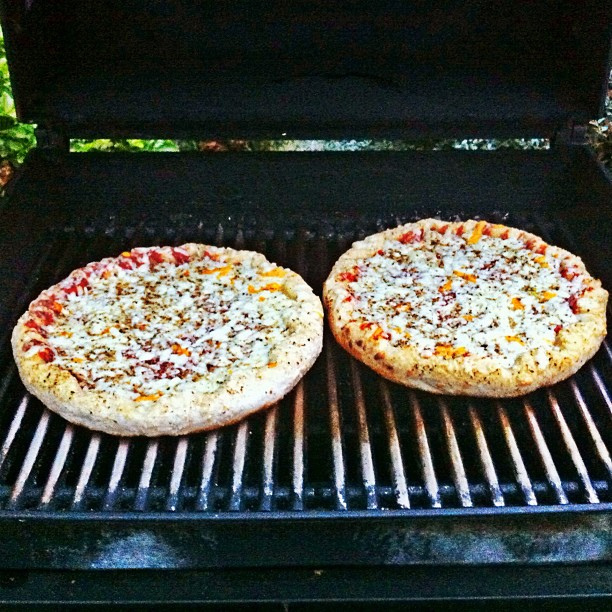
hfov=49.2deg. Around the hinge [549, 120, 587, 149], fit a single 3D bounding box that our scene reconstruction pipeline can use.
[{"bbox_3d":[1.490,-0.978,3.791,0.232,0.044,0.136,0,84,6],"label":"hinge"}]
